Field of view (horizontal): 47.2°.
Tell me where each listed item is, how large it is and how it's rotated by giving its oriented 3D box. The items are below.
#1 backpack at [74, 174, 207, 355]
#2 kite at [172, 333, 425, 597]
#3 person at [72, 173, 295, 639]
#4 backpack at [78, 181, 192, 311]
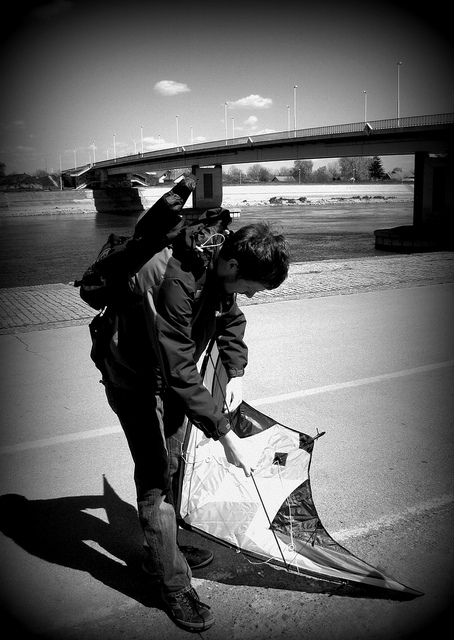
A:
[{"bbox_3d":[-0.288,-0.238,1.756,0.271,0.350,0.350,-20,-2,-27],"label":"backpack"},{"bbox_3d":[0.239,0.640,2.181,0.916,0.357,1.058,29,46,-25],"label":"kite"},{"bbox_3d":[-0.197,0.221,2.512,0.870,1.686,1.858,-1,8,-2],"label":"person"},{"bbox_3d":[-0.324,-0.250,1.769,0.495,0.428,0.216,5,9,34],"label":"backpack"}]
